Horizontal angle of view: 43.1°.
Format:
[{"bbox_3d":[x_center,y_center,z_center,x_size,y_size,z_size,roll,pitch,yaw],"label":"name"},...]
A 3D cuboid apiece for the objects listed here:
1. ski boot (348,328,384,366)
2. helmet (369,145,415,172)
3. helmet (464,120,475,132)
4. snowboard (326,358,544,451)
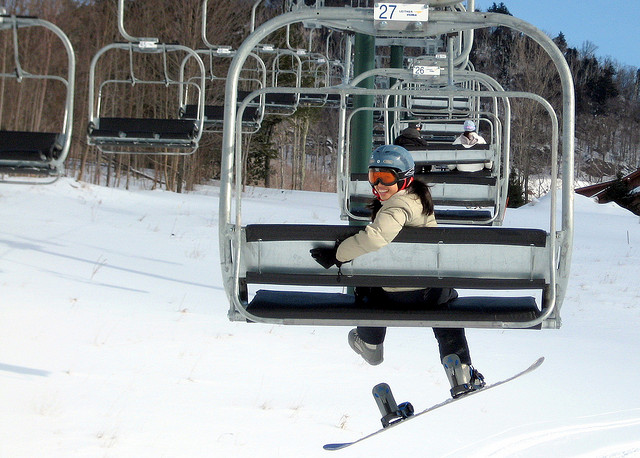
[{"bbox_3d":[0.464,1.212,8.162,0.297,0.376,0.499,1,6,-16],"label":"ski boot"},{"bbox_3d":[0.660,-0.644,7.528,0.234,0.270,0.328,-7,-18,41],"label":"helmet"},{"bbox_3d":[2.324,-1.614,12.688,0.149,0.161,0.448,4,6,9],"label":"helmet"},{"bbox_3d":[1.159,1.856,8.401,1.764,0.106,0.261,-26,2,14],"label":"snowboard"}]
